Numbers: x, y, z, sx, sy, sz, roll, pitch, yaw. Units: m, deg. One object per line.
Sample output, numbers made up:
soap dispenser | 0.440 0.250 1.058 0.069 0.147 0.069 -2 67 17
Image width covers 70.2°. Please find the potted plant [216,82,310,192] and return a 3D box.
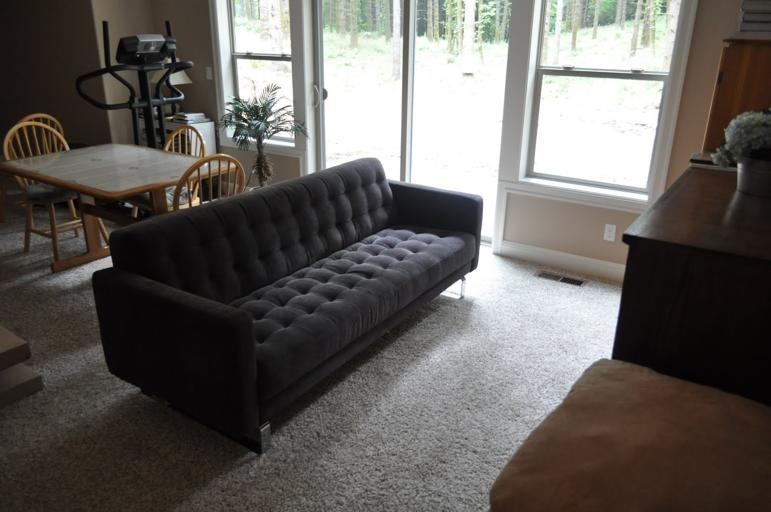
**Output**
potted plant | -1.202 -1.128 5.513 0.686 0.980 0.691 2 0 14

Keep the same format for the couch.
couch | -0.430 0.087 3.818 1.190 0.988 2.655 17 26 31

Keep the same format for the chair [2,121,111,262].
chair | -2.886 -0.523 4.818 0.743 1.376 0.696 -13 22 -39

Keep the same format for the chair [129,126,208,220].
chair | -2.146 -0.819 5.487 0.720 1.169 0.641 -3 32 -40

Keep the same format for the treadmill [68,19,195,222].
treadmill | -2.314 -1.292 5.016 0.717 2.214 0.996 22 31 31
